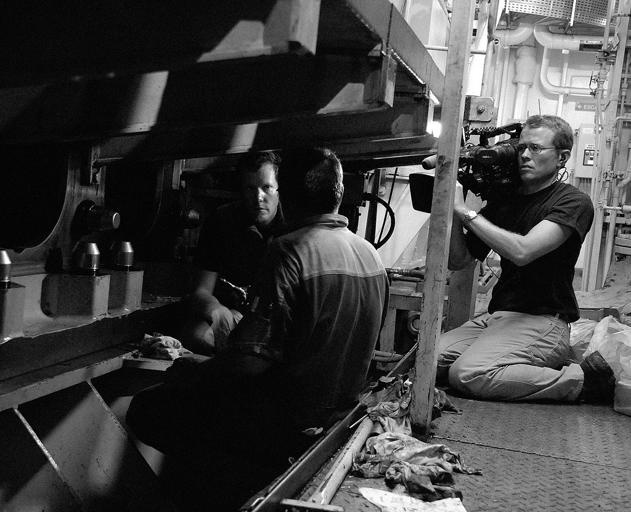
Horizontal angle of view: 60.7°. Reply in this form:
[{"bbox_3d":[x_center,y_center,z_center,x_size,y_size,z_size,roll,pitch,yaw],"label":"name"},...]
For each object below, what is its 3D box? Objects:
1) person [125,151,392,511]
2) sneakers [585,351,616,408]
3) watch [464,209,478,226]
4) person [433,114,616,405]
[{"bbox_3d":[-0.248,0.386,2.351,0.946,1.734,0.464,10,12,18],"label":"person"},{"bbox_3d":[1.535,0.667,2.926,0.179,0.264,0.121,11,12,22],"label":"sneakers"},{"bbox_3d":[0.859,-0.221,3.005,0.074,0.079,0.050,5,32,-35],"label":"watch"},{"bbox_3d":[1.241,0.009,3.022,0.946,1.581,0.651,9,11,12],"label":"person"}]
